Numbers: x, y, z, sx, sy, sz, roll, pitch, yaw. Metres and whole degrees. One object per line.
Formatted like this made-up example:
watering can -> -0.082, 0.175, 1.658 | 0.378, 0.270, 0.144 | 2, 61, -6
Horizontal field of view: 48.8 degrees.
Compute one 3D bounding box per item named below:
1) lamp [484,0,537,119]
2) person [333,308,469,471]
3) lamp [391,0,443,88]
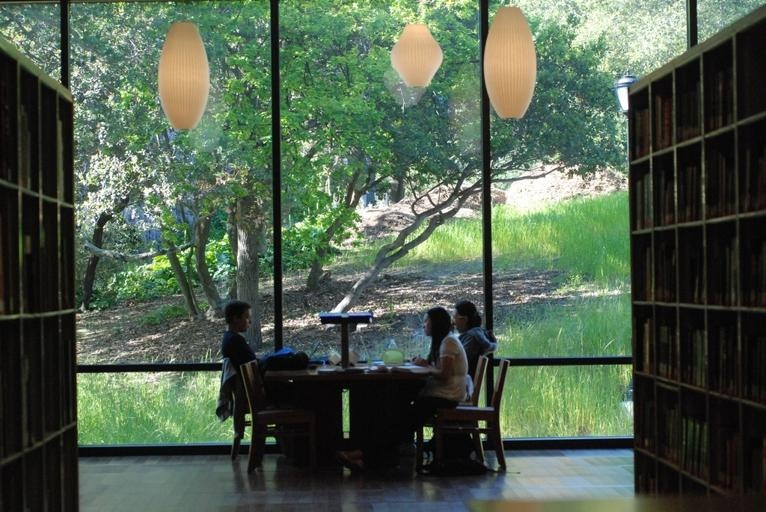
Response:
lamp -> 1.045, -1.605, 6.962 | 0.414, 0.876, 0.189 | -4, -1, 7
person -> 0.397, 1.155, 8.143 | 0.852, 1.328, 0.494 | -4, -1, 13
lamp -> 0.292, -1.827, 7.394 | 0.470, 0.609, 0.505 | 0, -1, -1
